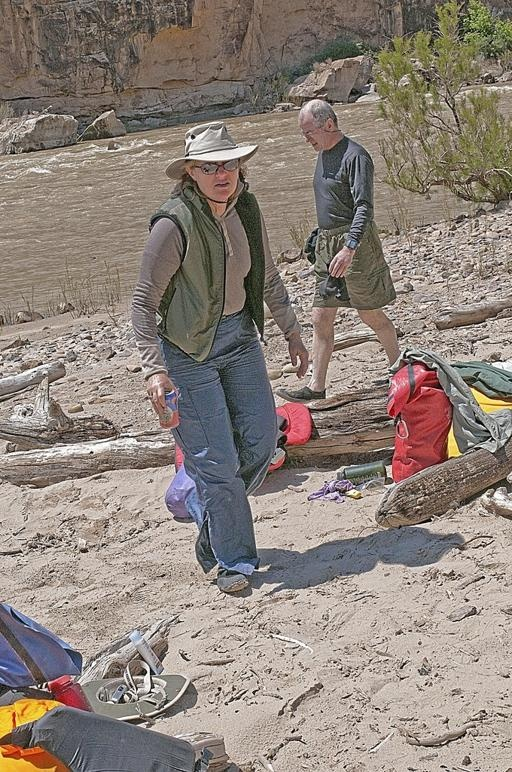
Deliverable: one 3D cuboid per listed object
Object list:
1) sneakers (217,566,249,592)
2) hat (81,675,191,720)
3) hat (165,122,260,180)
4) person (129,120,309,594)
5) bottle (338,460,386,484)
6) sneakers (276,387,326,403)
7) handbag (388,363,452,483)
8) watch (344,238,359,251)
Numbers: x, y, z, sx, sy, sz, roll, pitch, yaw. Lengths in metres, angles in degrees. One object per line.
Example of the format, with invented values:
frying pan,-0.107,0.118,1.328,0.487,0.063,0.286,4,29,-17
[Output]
sneakers,-0.093,0.782,3.602,0.065,0.064,0.149,-24,-5,-16
hat,-0.375,1.021,2.930,0.256,0.052,0.332,-3,-4,-19
hat,-0.156,-0.897,3.365,0.349,0.157,0.364,-8,6,-1
person,-0.131,-0.079,3.569,0.450,1.846,0.894,4,18,40
bottle,0.517,0.418,4.396,0.169,0.059,0.120,-12,2,5
sneakers,0.270,0.056,5.364,0.280,0.087,0.105,3,-1,0
handbag,0.721,0.175,4.095,0.239,0.532,0.316,-15,15,-28
watch,0.504,-0.750,4.751,0.052,0.065,0.063,37,19,-4
